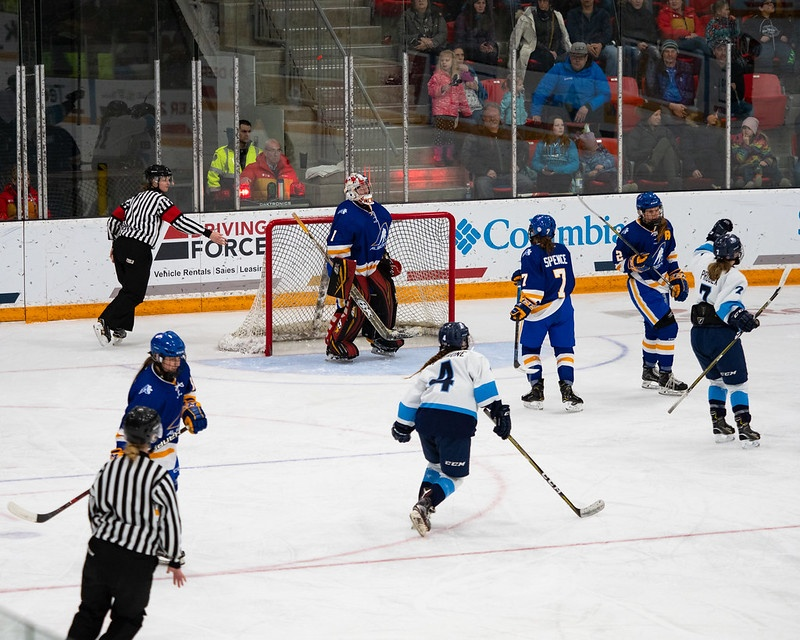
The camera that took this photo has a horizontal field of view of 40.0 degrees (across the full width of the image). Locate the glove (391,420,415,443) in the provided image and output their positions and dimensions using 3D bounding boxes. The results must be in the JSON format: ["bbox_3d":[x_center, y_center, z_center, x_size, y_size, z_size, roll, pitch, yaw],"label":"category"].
[{"bbox_3d":[0.006,0.561,5.428,0.109,0.104,0.044,19,4,-15],"label":"glove"}]

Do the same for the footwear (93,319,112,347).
[{"bbox_3d":[-2.559,0.123,9.470,0.099,0.261,0.117,-3,6,39],"label":"footwear"}]

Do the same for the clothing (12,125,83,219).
[{"bbox_3d":[-3.290,-1.468,10.715,0.329,0.869,0.728,-4,13,-16],"label":"clothing"}]

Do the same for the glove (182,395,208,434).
[{"bbox_3d":[-0.943,0.440,5.050,0.116,0.080,0.182,-17,19,-22],"label":"glove"}]

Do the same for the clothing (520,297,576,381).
[{"bbox_3d":[1.033,0.148,7.712,0.367,0.703,0.219,2,-22,3],"label":"clothing"}]

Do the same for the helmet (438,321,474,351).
[{"bbox_3d":[0.270,0.084,5.447,0.119,0.140,0.151,3,11,21],"label":"helmet"}]

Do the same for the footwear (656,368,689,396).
[{"bbox_3d":[1.953,0.475,7.966,0.261,0.167,0.125,1,6,9],"label":"footwear"}]

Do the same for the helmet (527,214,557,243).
[{"bbox_3d":[0.977,-0.631,7.643,0.170,0.177,0.191,-1,16,-14],"label":"helmet"}]

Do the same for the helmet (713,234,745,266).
[{"bbox_3d":[1.955,-0.421,6.576,0.164,0.173,0.191,3,12,16],"label":"helmet"}]

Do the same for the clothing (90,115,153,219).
[{"bbox_3d":[-2.764,-1.579,10.986,0.611,1.286,0.443,7,5,20],"label":"clothing"}]

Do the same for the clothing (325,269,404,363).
[{"bbox_3d":[-0.315,-0.017,9.192,0.422,0.897,0.847,-3,-3,39],"label":"clothing"}]

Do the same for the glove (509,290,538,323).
[{"bbox_3d":[0.820,-0.092,7.564,0.209,0.198,0.089,13,10,-25],"label":"glove"}]

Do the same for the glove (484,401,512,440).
[{"bbox_3d":[0.482,0.502,5.388,0.146,0.179,0.103,-9,-1,-39],"label":"glove"}]

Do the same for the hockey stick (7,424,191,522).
[{"bbox_3d":[-1.449,0.749,5.219,1.050,0.144,0.218,-27,19,-28],"label":"hockey stick"}]

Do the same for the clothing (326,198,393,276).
[{"bbox_3d":[-0.323,-0.690,9.160,0.730,0.652,0.357,-17,30,-38],"label":"clothing"}]

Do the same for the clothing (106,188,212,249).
[{"bbox_3d":[-2.142,-0.860,9.392,1.110,0.459,0.416,6,7,31],"label":"clothing"}]

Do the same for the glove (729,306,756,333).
[{"bbox_3d":[2.012,0.008,6.451,0.164,0.150,0.160,5,13,25],"label":"glove"}]

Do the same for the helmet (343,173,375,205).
[{"bbox_3d":[-0.342,-1.078,9.127,0.221,0.246,0.279,-13,11,-36],"label":"helmet"}]

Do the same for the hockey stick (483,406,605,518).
[{"bbox_3d":[0.780,0.801,5.843,0.153,0.031,0.851,-28,34,-13],"label":"hockey stick"}]

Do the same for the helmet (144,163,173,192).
[{"bbox_3d":[-2.069,-1.212,9.407,0.311,0.284,0.239,-3,6,-8],"label":"helmet"}]

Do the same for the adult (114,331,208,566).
[{"bbox_3d":[-1.108,0.616,4.943,0.355,1.055,0.505,6,9,36],"label":"adult"}]

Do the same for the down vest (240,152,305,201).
[{"bbox_3d":[-1.305,-1.437,11.012,0.694,0.509,0.396,3,0,-21],"label":"down vest"}]

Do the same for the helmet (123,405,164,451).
[{"bbox_3d":[-0.949,0.404,4.104,0.129,0.155,0.160,6,11,10],"label":"helmet"}]

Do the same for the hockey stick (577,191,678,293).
[{"bbox_3d":[2.007,-0.744,9.827,0.223,1.583,0.028,-42,3,-16],"label":"hockey stick"}]

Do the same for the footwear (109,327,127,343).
[{"bbox_3d":[-2.459,0.142,9.556,0.119,0.104,0.108,-2,-30,48],"label":"footwear"}]

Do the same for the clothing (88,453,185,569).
[{"bbox_3d":[-0.974,0.702,4.004,0.303,0.408,0.137,-4,13,-15],"label":"clothing"}]

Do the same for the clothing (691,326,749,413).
[{"bbox_3d":[1.919,0.289,6.607,0.231,0.516,0.380,-3,12,-12],"label":"clothing"}]

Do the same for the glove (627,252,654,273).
[{"bbox_3d":[1.757,-0.415,8.052,0.163,0.062,0.115,-19,45,1],"label":"glove"}]

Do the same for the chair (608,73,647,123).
[{"bbox_3d":[2.418,-2.351,11.662,0.468,0.514,0.472,-1,10,-6],"label":"chair"}]

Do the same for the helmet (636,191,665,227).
[{"bbox_3d":[1.830,-0.803,8.048,0.181,0.244,0.193,2,12,13],"label":"helmet"}]

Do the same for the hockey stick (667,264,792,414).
[{"bbox_3d":[2.322,0.183,7.790,0.222,0.079,1.878,-4,32,50],"label":"hockey stick"}]

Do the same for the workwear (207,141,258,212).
[{"bbox_3d":[-1.690,-1.448,10.919,0.477,0.595,0.314,-15,42,-43],"label":"workwear"}]

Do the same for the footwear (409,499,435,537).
[{"bbox_3d":[0.109,0.949,5.243,0.101,0.222,0.076,-34,51,-3],"label":"footwear"}]
